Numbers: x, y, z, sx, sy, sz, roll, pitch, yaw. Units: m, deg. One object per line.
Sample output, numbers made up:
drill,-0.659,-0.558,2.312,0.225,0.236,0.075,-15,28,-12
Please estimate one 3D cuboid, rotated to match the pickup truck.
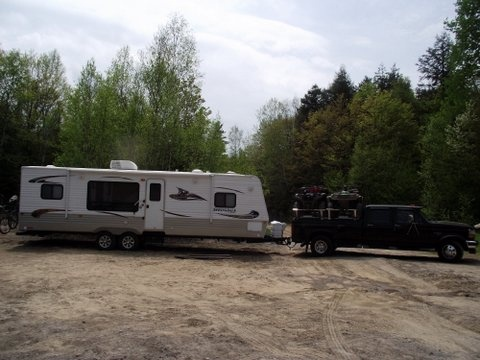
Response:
pickup truck,5.641,2.127,17.213,6.790,2.260,3.060,0,-2,8
